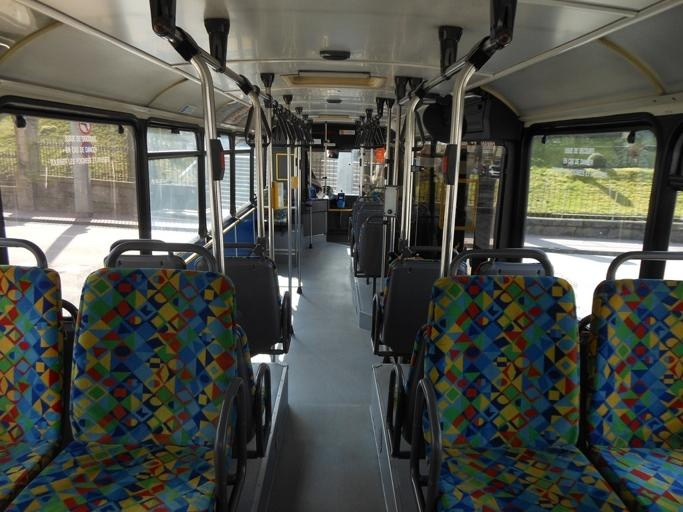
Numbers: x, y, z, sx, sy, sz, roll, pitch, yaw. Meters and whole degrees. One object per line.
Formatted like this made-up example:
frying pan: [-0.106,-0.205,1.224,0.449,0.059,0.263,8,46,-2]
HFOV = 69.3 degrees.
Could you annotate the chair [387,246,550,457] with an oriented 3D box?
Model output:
chair: [0.601,0.573,2.901,0.759,1.121,0.881,4,-15,1]
